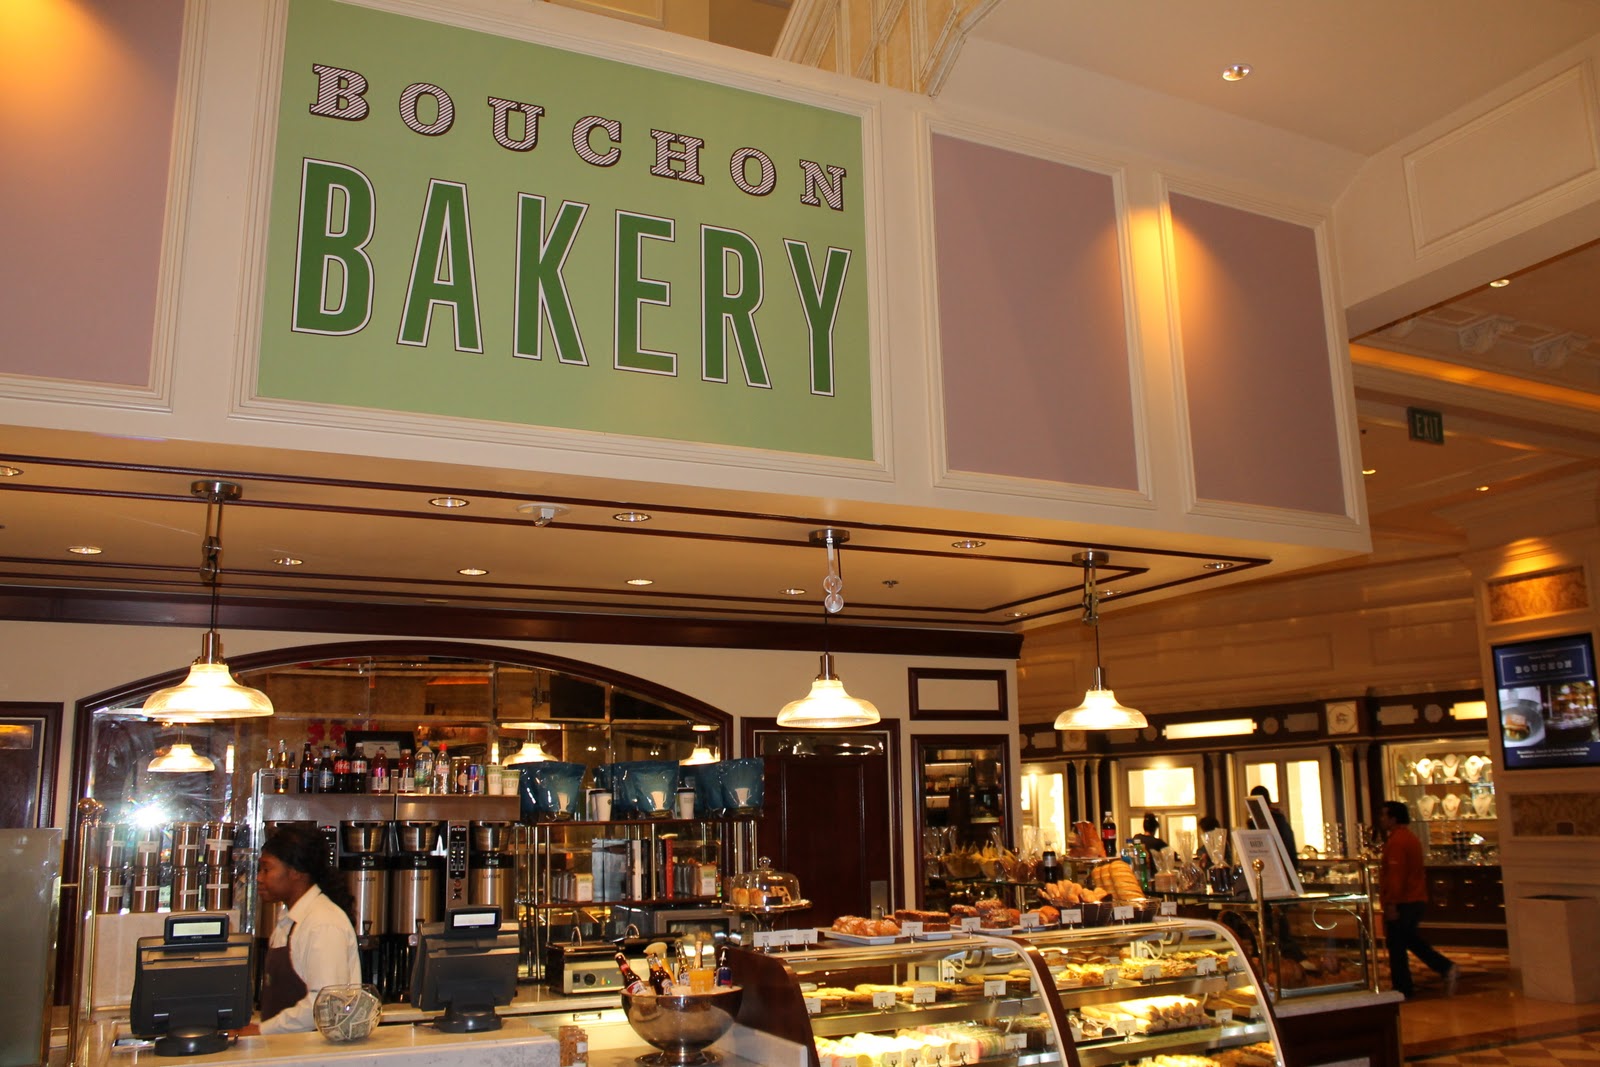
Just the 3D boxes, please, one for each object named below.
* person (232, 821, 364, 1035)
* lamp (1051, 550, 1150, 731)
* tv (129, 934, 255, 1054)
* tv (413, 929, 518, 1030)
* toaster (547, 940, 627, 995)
[{"bbox_3d":[-2.433,1.948,5.816,0.479,0.982,1.131,4,-16,-23],"label":"person"},{"bbox_3d":[1.762,0.624,6.981,0.714,1.072,0.661,1,-15,-12],"label":"lamp"},{"bbox_3d":[-2.518,1.946,5.045,0.532,0.441,0.447,1,-3,-18],"label":"tv"},{"bbox_3d":[-1.499,1.976,5.426,0.619,0.511,0.394,5,-20,-18],"label":"tv"},{"bbox_3d":[-1.213,2.472,6.707,0.342,0.215,0.318,7,-15,-29],"label":"toaster"}]
